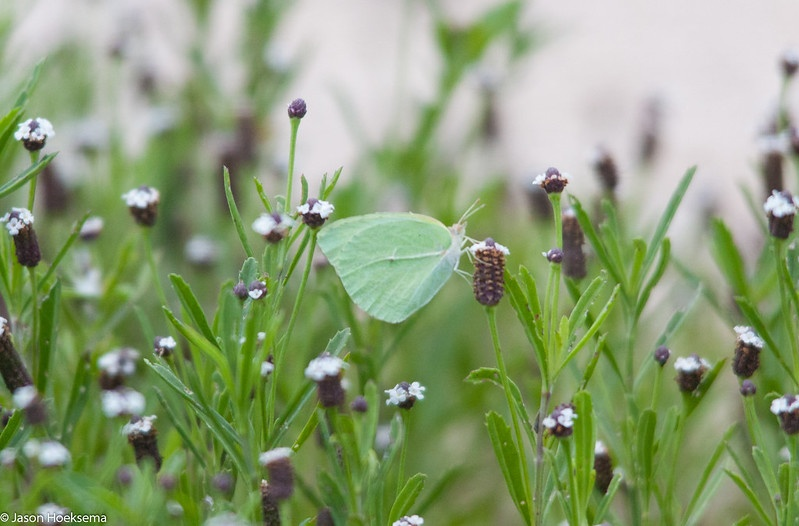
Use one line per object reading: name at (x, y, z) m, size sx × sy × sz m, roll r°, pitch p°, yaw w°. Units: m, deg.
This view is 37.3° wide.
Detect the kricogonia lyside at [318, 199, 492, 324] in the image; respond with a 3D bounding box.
kricogonia lyside at (0.036, -0.049, 2.277) m, size 0.265 × 0.164 × 0.302 m, roll 2°, pitch 13°, yaw -9°
